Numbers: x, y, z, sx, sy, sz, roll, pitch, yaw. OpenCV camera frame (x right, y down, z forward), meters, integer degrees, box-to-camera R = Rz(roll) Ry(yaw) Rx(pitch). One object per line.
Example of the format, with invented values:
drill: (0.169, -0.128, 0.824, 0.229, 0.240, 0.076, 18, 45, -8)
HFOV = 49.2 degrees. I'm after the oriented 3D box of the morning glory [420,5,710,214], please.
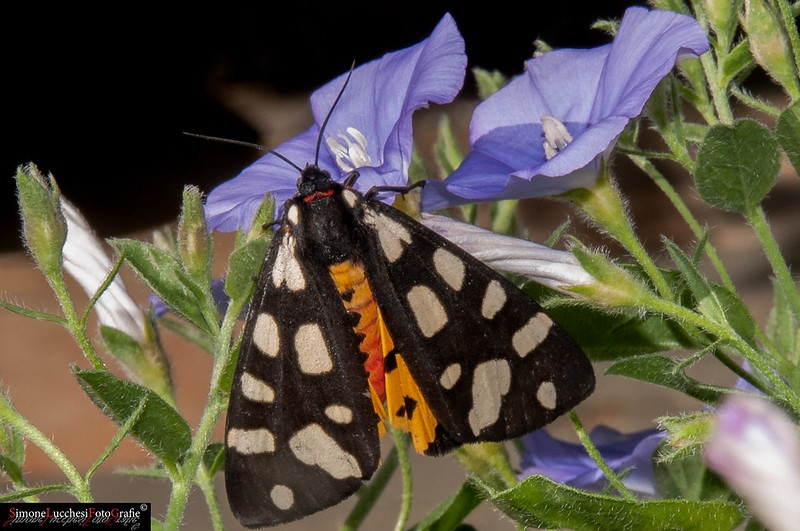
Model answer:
morning glory: (0.420, -0.399, 2.199, 0.531, 0.272, 0.527, -25, 17, 33)
